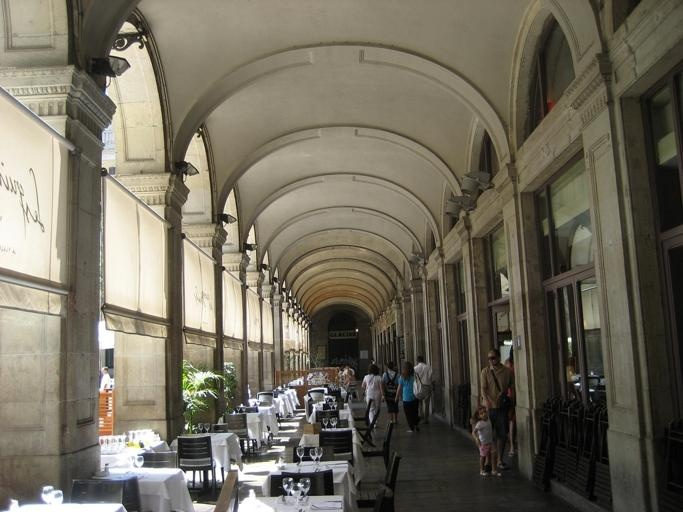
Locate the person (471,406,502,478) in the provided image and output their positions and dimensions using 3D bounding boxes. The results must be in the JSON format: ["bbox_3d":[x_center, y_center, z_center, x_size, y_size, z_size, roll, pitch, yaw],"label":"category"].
[{"bbox_3d":[2.441,3.141,10.352,0.386,1.075,1.452,-5,-18,13],"label":"person"}]

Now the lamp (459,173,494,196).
[{"bbox_3d":[2.683,-1.503,12.017,0.466,0.379,0.510,10,-11,31],"label":"lamp"}]

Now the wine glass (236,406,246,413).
[{"bbox_3d":[-2.305,3.500,14.084,0.136,0.160,0.126,0,-20,-4],"label":"wine glass"}]

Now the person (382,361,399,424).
[{"bbox_3d":[1.340,3.758,16.623,0.453,1.675,0.466,1,-39,0],"label":"person"}]

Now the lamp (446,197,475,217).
[{"bbox_3d":[2.641,-1.124,13.728,0.494,0.466,0.458,13,-6,1],"label":"lamp"}]

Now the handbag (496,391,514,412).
[{"bbox_3d":[2.922,2.549,10.864,0.186,0.434,0.803,-9,-20,24],"label":"handbag"}]

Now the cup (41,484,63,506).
[{"bbox_3d":[-2.969,2.448,6.311,0.167,0.182,0.512,5,-20,-21],"label":"cup"}]

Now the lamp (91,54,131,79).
[{"bbox_3d":[-2.943,-2.406,7.807,0.369,0.277,0.180,0,-6,-9],"label":"lamp"}]

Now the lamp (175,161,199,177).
[{"bbox_3d":[-2.838,-1.577,11.124,0.257,0.158,0.386,-15,-13,25],"label":"lamp"}]

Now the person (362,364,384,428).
[{"bbox_3d":[0.832,3.596,15.926,0.476,1.656,0.446,-1,4,2],"label":"person"}]
